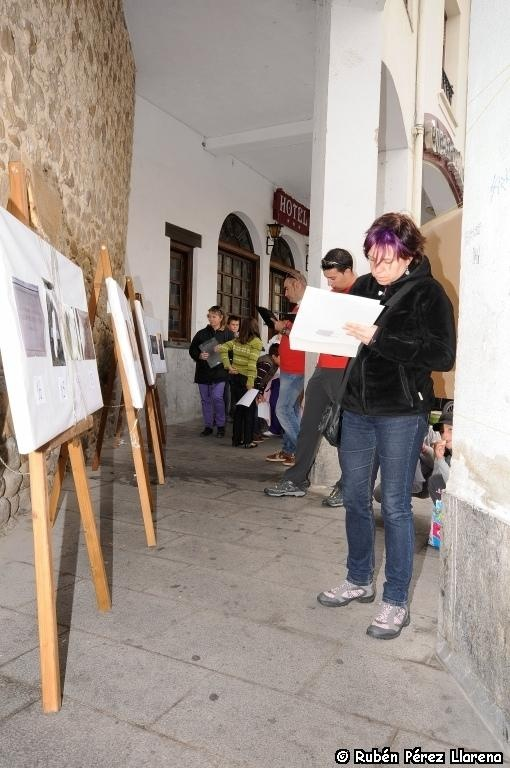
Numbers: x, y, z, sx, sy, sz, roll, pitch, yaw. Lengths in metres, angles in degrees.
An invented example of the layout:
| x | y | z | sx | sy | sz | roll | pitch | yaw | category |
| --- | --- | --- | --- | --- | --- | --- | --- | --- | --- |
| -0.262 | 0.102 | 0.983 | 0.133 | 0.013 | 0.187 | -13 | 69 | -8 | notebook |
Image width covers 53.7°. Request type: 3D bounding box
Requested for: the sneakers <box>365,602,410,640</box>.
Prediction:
| x | y | z | sx | sy | sz | roll | pitch | yaw | category |
| --- | --- | --- | --- | --- | --- | --- | --- | --- | --- |
| 0.497 | 0.886 | 1.890 | 0.076 | 0.105 | 0.207 | -8 | -12 | 31 | sneakers |

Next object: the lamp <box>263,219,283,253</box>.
| x | y | z | sx | sy | sz | roll | pitch | yaw | category |
| --- | --- | --- | --- | --- | --- | --- | --- | --- | --- |
| 0.388 | -3.430 | 11.702 | 0.340 | 0.745 | 0.699 | 2 | -2 | -8 | lamp |

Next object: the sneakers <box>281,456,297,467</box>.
| x | y | z | sx | sy | sz | roll | pitch | yaw | category |
| --- | --- | --- | --- | --- | --- | --- | --- | --- | --- |
| 0.349 | 0.840 | 5.446 | 0.092 | 0.120 | 0.260 | 0 | -14 | 6 | sneakers |

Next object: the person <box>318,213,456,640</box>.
| x | y | z | sx | sy | sz | roll | pitch | yaw | category |
| --- | --- | --- | --- | --- | --- | --- | --- | --- | --- |
| 0.506 | 0.141 | 2.027 | 0.453 | 1.620 | 0.508 | 2 | -2 | 3 | person |

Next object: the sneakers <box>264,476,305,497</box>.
| x | y | z | sx | sy | sz | roll | pitch | yaw | category |
| --- | --- | --- | --- | --- | --- | --- | --- | --- | --- |
| 0.236 | 0.858 | 4.199 | 0.354 | 0.193 | 0.136 | 8 | -4 | -6 | sneakers |

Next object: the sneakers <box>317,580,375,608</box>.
| x | y | z | sx | sy | sz | roll | pitch | yaw | category |
| --- | --- | --- | --- | --- | --- | --- | --- | --- | --- |
| 0.389 | 0.897 | 2.184 | 0.259 | 0.129 | 0.101 | 3 | -6 | -9 | sneakers |

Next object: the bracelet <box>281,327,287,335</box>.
| x | y | z | sx | sy | sz | roll | pitch | yaw | category |
| --- | --- | --- | --- | --- | --- | --- | --- | --- | --- |
| 0.273 | -0.515 | 4.968 | 0.040 | 0.059 | 0.063 | 1 | 36 | -4 | bracelet |

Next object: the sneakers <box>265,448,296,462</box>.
| x | y | z | sx | sy | sz | roll | pitch | yaw | category |
| --- | --- | --- | --- | --- | --- | --- | --- | --- | --- |
| 0.295 | 0.781 | 5.586 | 0.375 | 0.185 | 0.151 | 6 | 3 | 29 | sneakers |
